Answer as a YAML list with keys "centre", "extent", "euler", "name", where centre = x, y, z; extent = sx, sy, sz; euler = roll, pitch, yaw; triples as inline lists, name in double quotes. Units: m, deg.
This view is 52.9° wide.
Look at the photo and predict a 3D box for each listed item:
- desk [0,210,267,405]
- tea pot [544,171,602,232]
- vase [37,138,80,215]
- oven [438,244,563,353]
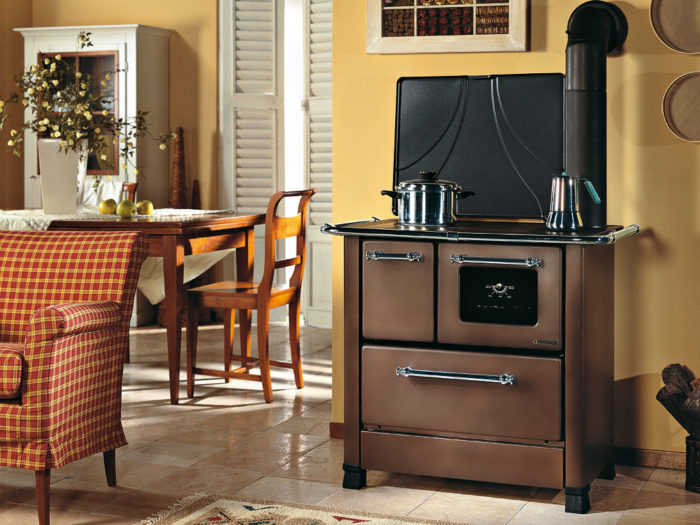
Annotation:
- centre: [-1.260, 0.200, 4.282]
  extent: [1.384, 0.950, 1.110]
  euler: [4, 8, 35]
  name: "desk"
- centre: [0.902, -0.239, 2.802]
  extent: [0.287, 0.261, 0.152]
  euler: [1, 0, 9]
  name: "tea pot"
- centre: [-1.773, -0.526, 4.313]
  extent: [0.249, 0.460, 0.192]
  euler: [-5, 8, -36]
  name: "vase"
- centre: [0.517, 0.144, 2.839]
  extent: [0.550, 0.406, 0.419]
  euler: [4, -8, -19]
  name: "oven"
